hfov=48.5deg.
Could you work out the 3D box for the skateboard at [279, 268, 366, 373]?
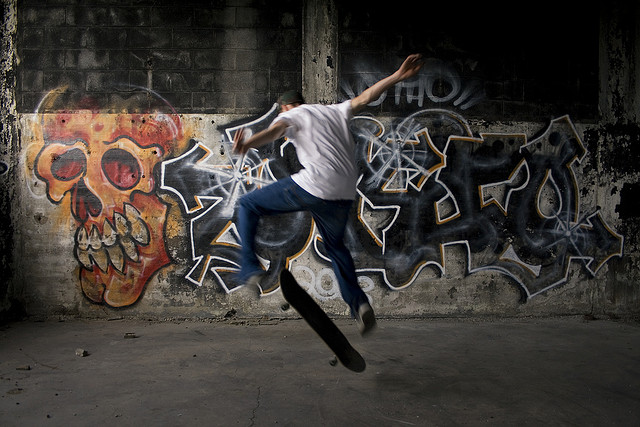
[{"bbox_3d":[0.020,1.421,9.289,0.195,1.399,0.339,-28,14,39],"label":"skateboard"}]
